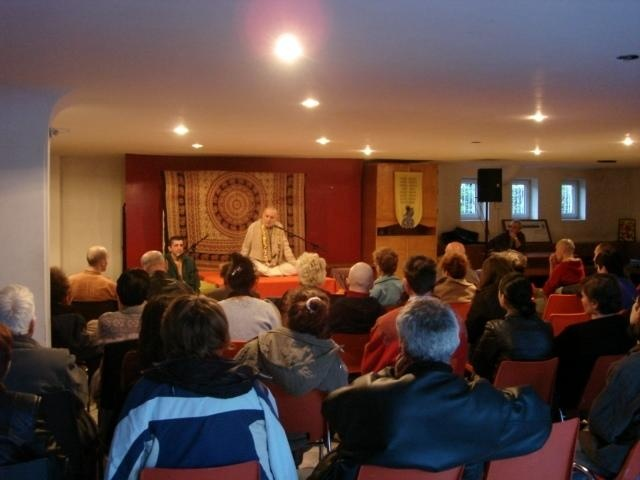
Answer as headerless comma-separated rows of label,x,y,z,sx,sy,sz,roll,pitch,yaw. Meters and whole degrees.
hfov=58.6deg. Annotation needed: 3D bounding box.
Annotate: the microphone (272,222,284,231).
microphone,-0.633,-0.201,8.543,0.139,0.049,0.106,20,14,34
